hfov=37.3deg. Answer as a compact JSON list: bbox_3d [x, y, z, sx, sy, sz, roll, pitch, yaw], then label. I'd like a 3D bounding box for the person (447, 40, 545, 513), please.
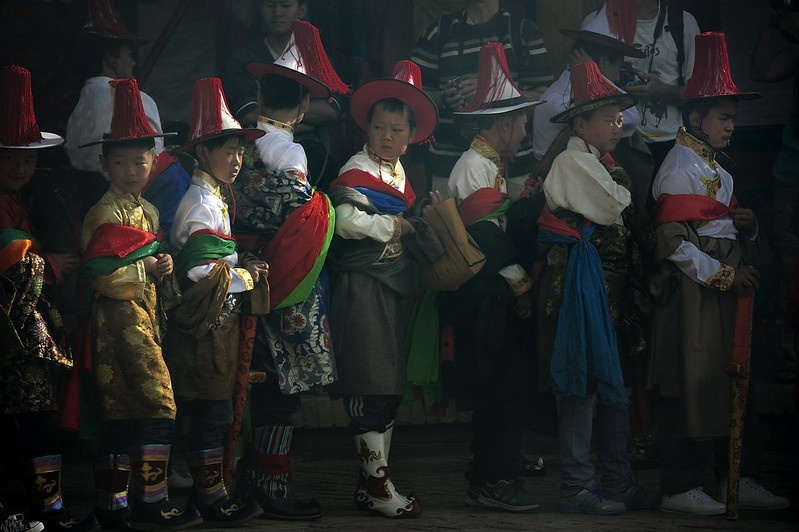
[{"bbox_3d":[0.517,0.229,6.568,0.510,2.235,0.353,-4,-11,1],"label":"person"}]

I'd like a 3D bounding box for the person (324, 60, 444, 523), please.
[{"bbox_3d":[-0.063,0.168,6.422,0.648,2.361,0.408,-3,-11,-4],"label":"person"}]

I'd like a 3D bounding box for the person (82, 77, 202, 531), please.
[{"bbox_3d":[-1.374,0.197,6.163,0.521,2.322,0.490,-3,-11,-4],"label":"person"}]

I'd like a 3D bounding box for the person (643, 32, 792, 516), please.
[{"bbox_3d":[1.689,0.033,6.599,0.721,2.667,0.380,-5,-11,7],"label":"person"}]
